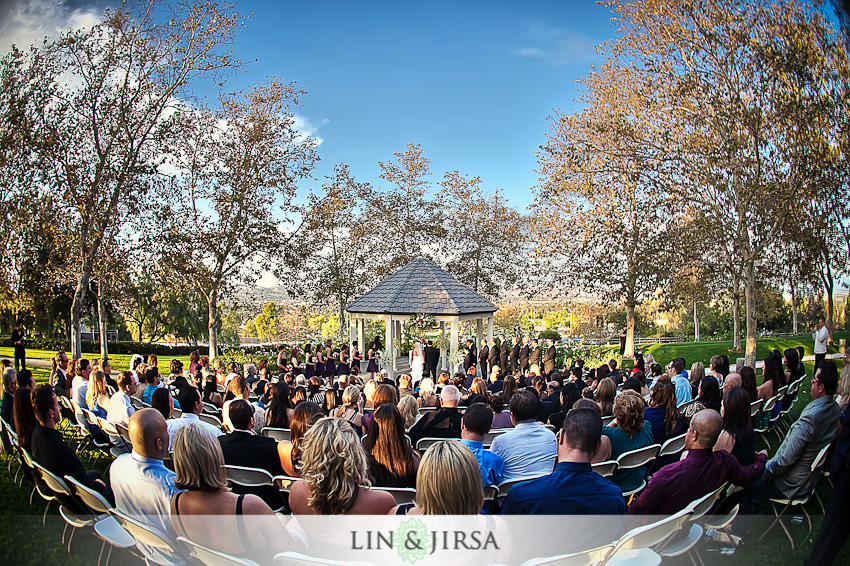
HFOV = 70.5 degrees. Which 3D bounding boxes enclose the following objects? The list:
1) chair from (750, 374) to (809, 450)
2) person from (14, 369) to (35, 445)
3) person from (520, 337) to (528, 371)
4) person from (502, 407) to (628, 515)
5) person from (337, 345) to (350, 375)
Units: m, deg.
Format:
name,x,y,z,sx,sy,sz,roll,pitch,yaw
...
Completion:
name,x,y,z,sx,sy,sz,roll,pitch,yaw
chair,7.350,2.706,12.466,0.556,0.906,1.717,-1,0,41
person,-7.255,2.224,10.902,0.293,1.138,3.885,4,-7,-34
person,4.446,3.145,26.317,0.512,1.301,1.420,0,-6,9
person,1.974,2.406,8.062,1.568,1.573,0.815,3,13,-10
person,-3.106,3.020,23.419,0.392,1.052,1.238,2,-6,-8
